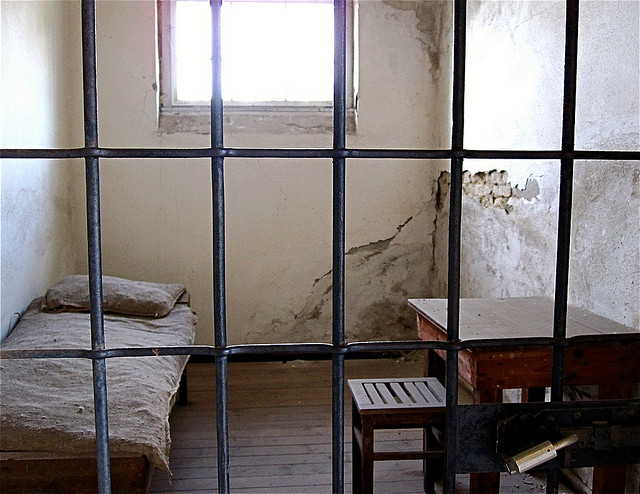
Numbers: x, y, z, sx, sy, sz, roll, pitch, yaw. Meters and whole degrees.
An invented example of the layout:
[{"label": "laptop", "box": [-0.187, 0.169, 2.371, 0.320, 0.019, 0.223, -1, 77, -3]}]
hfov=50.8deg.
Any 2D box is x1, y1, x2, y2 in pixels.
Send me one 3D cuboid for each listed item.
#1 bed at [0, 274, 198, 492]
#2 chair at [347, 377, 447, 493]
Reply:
[{"label": "bed", "box": [-1.118, 0.684, 3.479, 0.828, 0.431, 1.430, 2, 16, -1]}, {"label": "chair", "box": [0.301, 0.880, 3.277, 0.546, 0.509, 0.534, -1, 6, -9]}]
